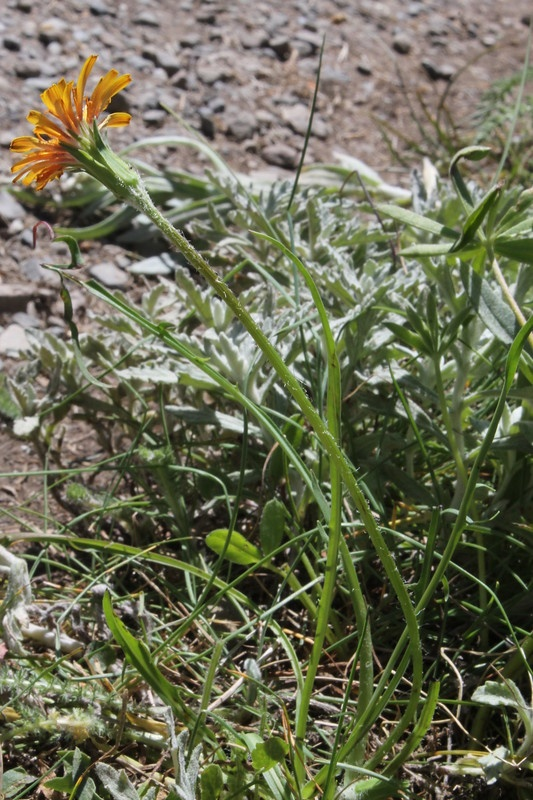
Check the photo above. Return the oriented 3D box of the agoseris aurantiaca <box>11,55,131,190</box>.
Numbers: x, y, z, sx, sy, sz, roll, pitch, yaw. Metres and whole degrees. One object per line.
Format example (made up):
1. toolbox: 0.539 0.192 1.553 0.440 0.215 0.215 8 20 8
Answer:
1. agoseris aurantiaca: -0.172 -0.239 0.736 0.133 0.123 0.047 -36 83 -14
